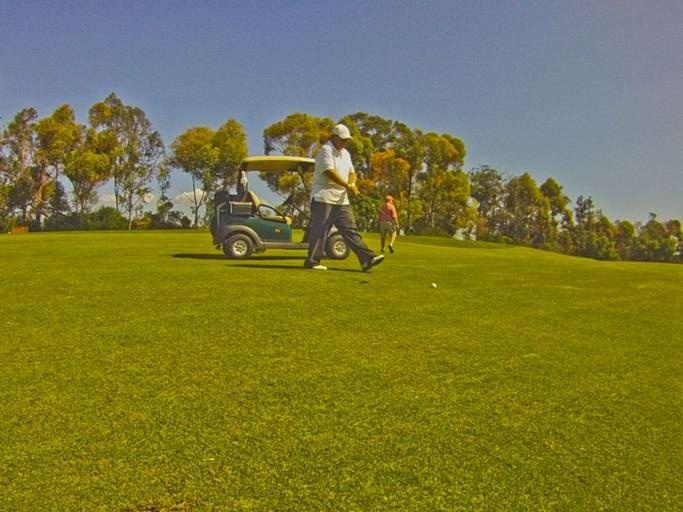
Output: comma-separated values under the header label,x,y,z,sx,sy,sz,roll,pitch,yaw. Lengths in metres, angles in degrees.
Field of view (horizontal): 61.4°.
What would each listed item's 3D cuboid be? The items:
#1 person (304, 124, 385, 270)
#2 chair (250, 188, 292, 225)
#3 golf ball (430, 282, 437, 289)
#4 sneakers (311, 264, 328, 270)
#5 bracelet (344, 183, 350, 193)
label,x,y,z,sx,sy,sz,roll,pitch,yaw
person,-0.083,-0.922,9.923,1.265,2.627,0.985,2,14,4
chair,-1.631,-1.087,13.103,1.061,0.805,0.353,4,13,-6
golf ball,1.473,0.470,9.215,0.070,0.048,0.071,-7,4,0
sneakers,-0.398,0.210,10.413,0.196,0.092,0.121,-3,-2,13
bracelet,0.089,-1.158,9.683,0.068,0.158,0.186,1,15,0
